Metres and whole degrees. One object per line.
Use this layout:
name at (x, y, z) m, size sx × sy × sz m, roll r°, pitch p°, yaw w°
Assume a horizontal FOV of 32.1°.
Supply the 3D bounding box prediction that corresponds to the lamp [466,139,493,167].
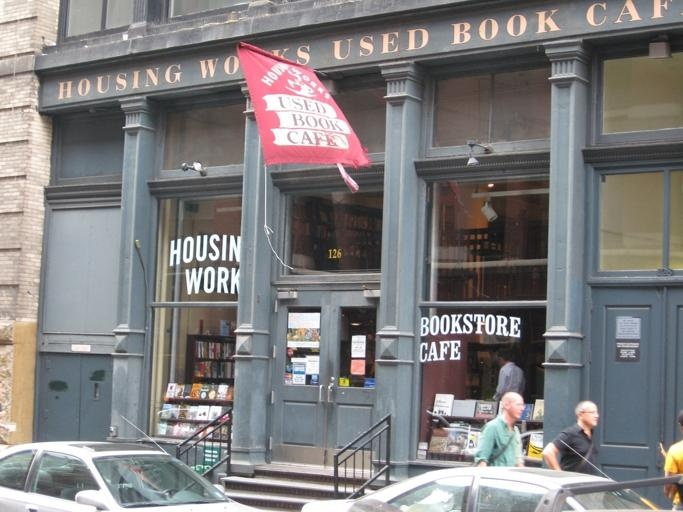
lamp at (2.240, -1.695, 19.818) m, size 0.465 × 0.539 × 0.347 m, roll 0°, pitch 0°, yaw -25°

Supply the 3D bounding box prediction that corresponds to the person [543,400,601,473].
person at (3.091, 2.451, 16.025) m, size 0.830 × 0.960 × 0.383 m, roll 1°, pitch -5°, yaw -27°

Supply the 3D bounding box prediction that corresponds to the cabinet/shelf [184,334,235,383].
cabinet/shelf at (-2.398, 1.891, 21.832) m, size 0.898 × 0.855 × 0.300 m, roll -1°, pitch -5°, yaw 18°
